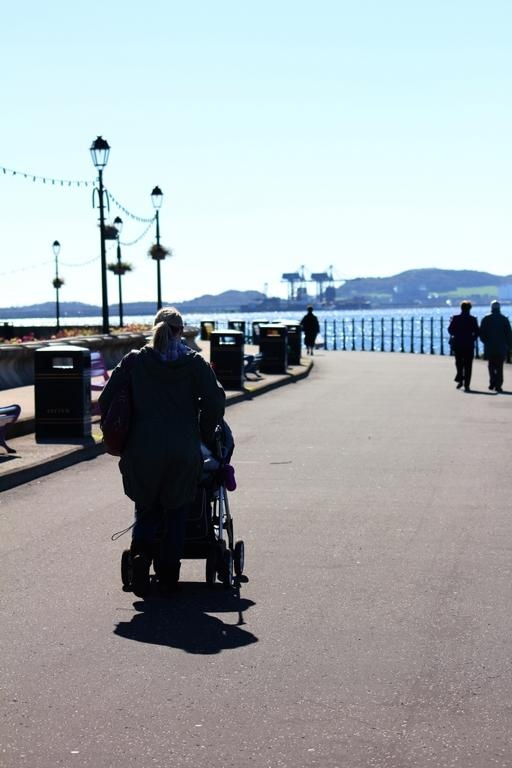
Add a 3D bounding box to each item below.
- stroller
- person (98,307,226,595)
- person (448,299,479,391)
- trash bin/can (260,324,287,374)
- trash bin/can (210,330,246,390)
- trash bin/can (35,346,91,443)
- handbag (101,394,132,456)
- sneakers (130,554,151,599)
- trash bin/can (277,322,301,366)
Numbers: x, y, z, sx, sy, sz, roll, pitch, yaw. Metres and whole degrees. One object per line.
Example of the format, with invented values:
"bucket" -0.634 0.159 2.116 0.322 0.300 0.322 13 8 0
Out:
"stroller" -0.437 0.624 5.397 0.593 1.138 0.782 -3 -17 9
"person" -0.501 0.340 4.933 0.661 1.491 0.364 -1 2 -12
"person" 4.542 -0.821 20.320 0.539 2.004 0.508 3 -18 11
"trash bin/can" 0.425 -0.900 23.808 0.661 1.228 0.822 0 2 -3
"trash bin/can" -0.612 -0.489 18.939 0.649 1.292 0.707 5 -7 -18
"trash bin/can" -2.359 0.175 11.304 0.514 1.170 0.560 -2 -14 -3
"handbag" -0.717 0.204 4.840 0.165 0.286 0.093 7 2 42
"sneakers" -0.621 1.006 4.939 0.090 0.227 0.124 3 5 25
"trash bin/can" 1.150 -1.219 28.334 0.862 1.484 0.982 0 2 -1
